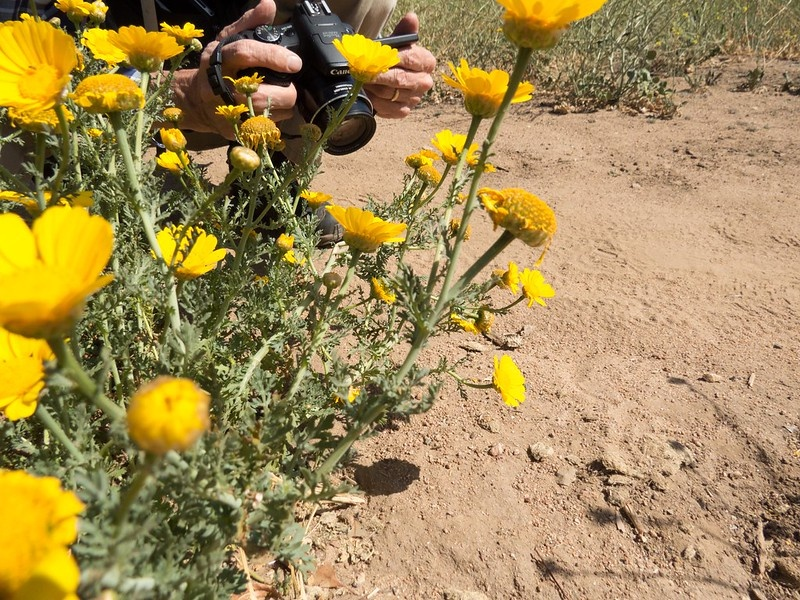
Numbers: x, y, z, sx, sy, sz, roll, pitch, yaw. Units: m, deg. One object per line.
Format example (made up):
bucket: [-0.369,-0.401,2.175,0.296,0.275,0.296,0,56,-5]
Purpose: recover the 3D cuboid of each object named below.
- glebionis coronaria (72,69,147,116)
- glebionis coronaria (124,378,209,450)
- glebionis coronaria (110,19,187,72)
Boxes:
glebionis coronaria: [-0.792,-0.556,1.614,0.142,0.075,0.141,-9,27,-25]
glebionis coronaria: [-0.451,0.237,1.161,0.139,0.180,0.132,0,35,-25]
glebionis coronaria: [-0.774,-0.762,1.820,0.194,0.148,0.159,1,35,-24]
